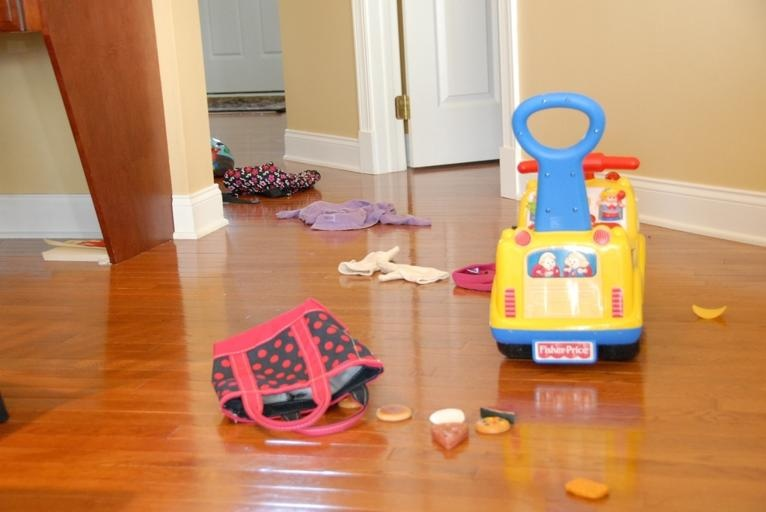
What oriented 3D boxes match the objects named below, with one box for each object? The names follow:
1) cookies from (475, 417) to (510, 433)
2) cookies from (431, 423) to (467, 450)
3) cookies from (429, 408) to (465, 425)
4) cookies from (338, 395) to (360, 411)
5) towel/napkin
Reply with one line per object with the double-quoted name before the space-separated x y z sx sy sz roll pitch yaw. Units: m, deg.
"cookies" 0.253 0.387 1.411 0.081 0.022 0.048 2 22 13
"cookies" 0.154 0.401 1.381 0.082 0.030 0.064 -7 22 -10
"cookies" 0.152 0.379 1.452 0.086 0.017 0.059 -2 21 3
"cookies" -0.087 0.369 1.540 0.041 0.018 0.048 -15 24 -29
"towel/napkin" -0.171 -0.209 3.148 0.845 0.081 0.373 -1 21 6
